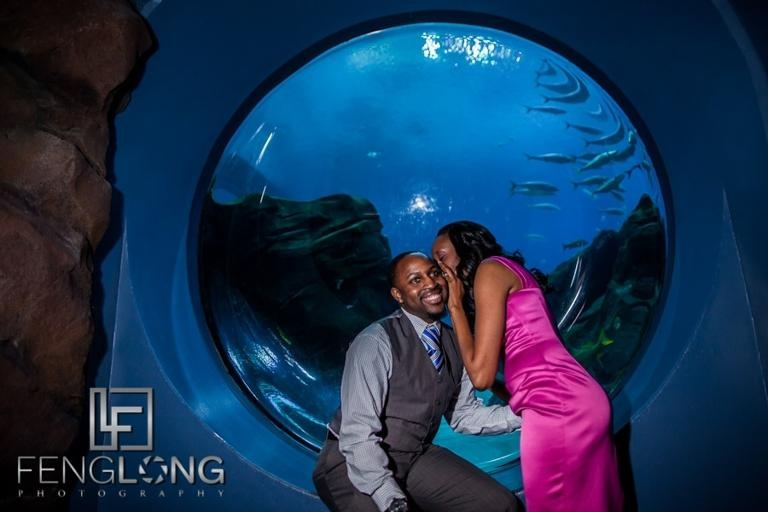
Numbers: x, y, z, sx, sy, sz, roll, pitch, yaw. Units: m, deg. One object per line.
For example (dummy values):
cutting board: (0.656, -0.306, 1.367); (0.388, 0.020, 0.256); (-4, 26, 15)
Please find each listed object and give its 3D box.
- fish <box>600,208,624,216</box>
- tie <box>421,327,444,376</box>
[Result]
fish: (2.090, -0.396, 5.101); (0.237, 0.095, 0.049); (4, 2, 38)
tie: (0.347, 0.725, 4.254); (0.182, 0.070, 0.313); (16, 58, -43)
